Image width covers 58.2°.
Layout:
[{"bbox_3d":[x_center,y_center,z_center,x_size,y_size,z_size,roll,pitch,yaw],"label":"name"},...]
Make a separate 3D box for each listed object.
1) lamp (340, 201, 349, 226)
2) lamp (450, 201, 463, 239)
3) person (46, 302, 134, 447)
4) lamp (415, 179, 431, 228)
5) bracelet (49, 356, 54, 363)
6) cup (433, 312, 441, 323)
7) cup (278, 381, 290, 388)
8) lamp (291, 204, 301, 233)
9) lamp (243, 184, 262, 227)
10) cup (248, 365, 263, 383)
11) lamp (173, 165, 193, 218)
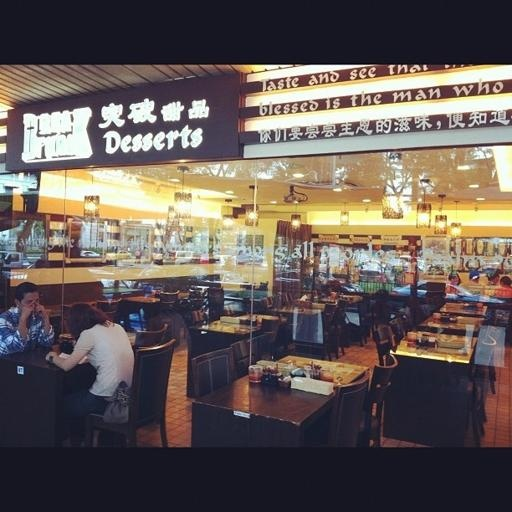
[{"bbox_3d":[0.881,-0.425,4.596,0.084,0.241,0.121,1,0,10],"label":"lamp"},{"bbox_3d":[1.762,-0.320,4.060,0.093,0.341,0.151,1,0,22],"label":"lamp"},{"bbox_3d":[-1.517,1.183,4.261,0.804,1.476,0.596,-5,-3,21],"label":"person"},{"bbox_3d":[1.508,-0.477,4.135,0.132,0.470,0.165,1,0,20],"label":"lamp"},{"bbox_3d":[-1.756,0.895,3.943,0.031,0.046,0.022,-5,-5,12],"label":"bracelet"},{"bbox_3d":[1.622,0.559,4.135,0.078,0.089,0.081,-1,2,0],"label":"cup"},{"bbox_3d":[0.221,1.006,3.575,0.047,0.032,0.069,-2,-8,18],"label":"cup"},{"bbox_3d":[0.381,-0.338,4.520,0.135,0.253,0.140,2,-3,0],"label":"lamp"},{"bbox_3d":[-0.039,-0.472,4.320,0.128,0.361,0.098,1,0,-4],"label":"lamp"},{"bbox_3d":[-0.004,0.955,3.710,0.111,0.125,0.125,1,0,0],"label":"cup"},{"bbox_3d":[-0.754,-0.639,4.731,0.181,0.544,0.181,-1,5,-28],"label":"lamp"}]
